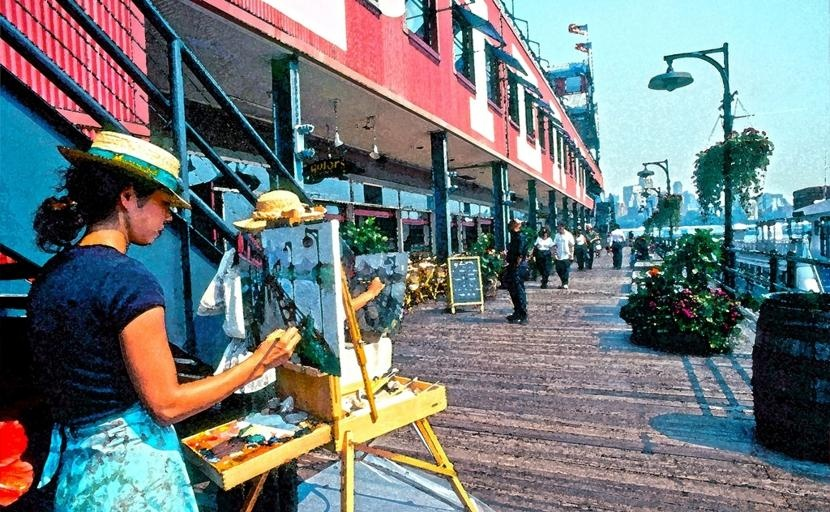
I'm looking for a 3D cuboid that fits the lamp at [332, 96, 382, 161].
[{"bbox_3d":[-1.253,-2.379,13.624,0.909,0.921,0.937,-4,0,21],"label":"lamp"}]

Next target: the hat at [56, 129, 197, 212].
[{"bbox_3d":[-2.466,-0.634,5.963,0.795,0.236,0.768,24,-6,-29],"label":"hat"}]

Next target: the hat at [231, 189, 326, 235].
[{"bbox_3d":[-1.307,-0.415,6.638,0.517,0.182,0.540,-8,12,-1],"label":"hat"}]

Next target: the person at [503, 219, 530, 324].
[{"bbox_3d":[1.912,0.255,13.175,0.396,1.924,0.865,-1,5,8],"label":"person"}]

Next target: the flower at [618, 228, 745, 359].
[{"bbox_3d":[4.115,0.534,10.653,1.572,1.827,0.932,0,5,18],"label":"flower"}]
